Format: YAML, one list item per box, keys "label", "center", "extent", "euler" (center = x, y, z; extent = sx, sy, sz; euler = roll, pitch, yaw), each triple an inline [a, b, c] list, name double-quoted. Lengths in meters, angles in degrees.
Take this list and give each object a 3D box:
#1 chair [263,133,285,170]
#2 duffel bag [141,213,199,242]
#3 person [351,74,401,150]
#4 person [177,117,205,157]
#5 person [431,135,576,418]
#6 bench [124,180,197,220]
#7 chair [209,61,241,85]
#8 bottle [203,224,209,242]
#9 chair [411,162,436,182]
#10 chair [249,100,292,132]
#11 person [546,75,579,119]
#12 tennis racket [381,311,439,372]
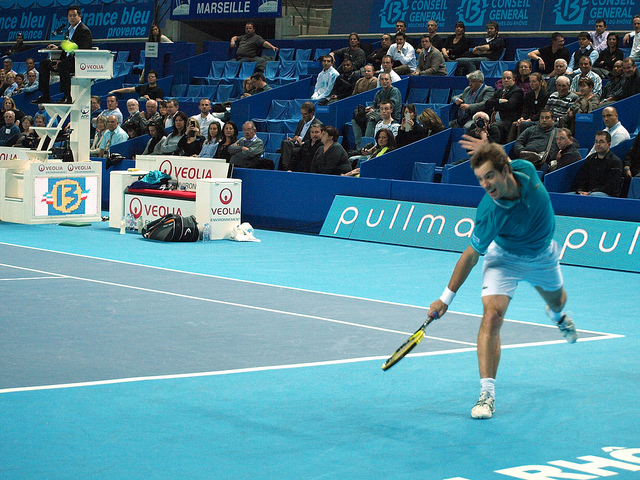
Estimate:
- label: "chair"
  center: [-1.134, -2.218, 15.333]
  extent: [0.495, 0.918, 1.376]
  euler: [1, 7, -3]
- label: "duffel bag"
  center: [-2.956, -0.226, 12.211]
  extent: [1.059, 0.514, 0.347]
  euler: [3, 7, 14]
- label: "person"
  center: [1.337, -3.029, 14.617]
  extent: [1.139, 1.752, 0.667]
  euler: [3, 7, 6]
- label: "person"
  center: [-3.047, -2.454, 14.727]
  extent: [0.551, 0.912, 0.435]
  euler: [6, 8, 31]
- label: "person"
  center: [1.299, 0.217, 4.287]
  extent: [0.512, 1.826, 1.222]
  euler: [9, 10, 44]
- label: "bench"
  center: [-3.208, -0.845, 12.983]
  extent: [1.882, 0.840, 0.604]
  euler: [5, 8, 27]
- label: "chair"
  center: [-3.105, -5.398, 20.168]
  extent: [1.081, 0.772, 1.052]
  euler: [5, 25, 11]
- label: "bottle"
  center: [-2.270, -0.138, 12.293]
  extent: [0.114, 0.335, 0.082]
  euler: [1, 7, -7]
- label: "chair"
  center: [2.233, -1.454, 13.224]
  extent: [0.393, 0.663, 0.419]
  euler: [8, 13, 21]
- label: "chair"
  center: [-1.443, -3.390, 16.954]
  extent: [0.774, 0.891, 1.196]
  euler: [8, 10, 41]
- label: "person"
  center: [5.033, -2.931, 12.714]
  extent: [0.598, 0.853, 0.547]
  euler: [2, 7, 1]
- label: "tennis racket"
  center: [0.635, 0.672, 4.201]
  extent: [0.326, 0.404, 0.402]
  euler: [4, 7, 17]
